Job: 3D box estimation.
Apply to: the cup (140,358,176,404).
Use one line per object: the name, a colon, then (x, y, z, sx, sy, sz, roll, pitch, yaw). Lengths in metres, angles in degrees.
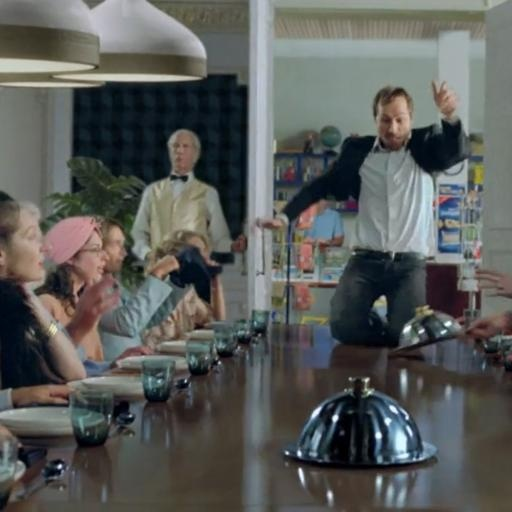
cup: (-0.196, 0.242, 1.492, 0.060, 0.085, 0.067, 1, -9, -4)

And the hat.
hat: (-0.824, -0.065, 3.370, 0.162, 0.054, 0.189, -6, 37, -2)

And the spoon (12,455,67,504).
spoon: (-0.299, 0.310, 1.038, 0.021, 0.034, 0.098, 0, 6, 26)

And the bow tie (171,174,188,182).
bow tie: (-0.479, -0.474, 4.673, 0.118, 0.048, 0.045, -1, 2, -9)

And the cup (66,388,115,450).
cup: (-0.265, 0.257, 1.212, 0.066, 0.095, 0.075, 1, -10, -7)

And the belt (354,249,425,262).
belt: (0.660, -0.004, 3.760, 0.360, 0.064, 0.113, -1, 2, 1)

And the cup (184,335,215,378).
cup: (-0.144, 0.244, 1.836, 0.056, 0.077, 0.059, 0, -1, 0)

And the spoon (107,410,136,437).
spoon: (-0.232, 0.289, 1.308, 0.027, 0.032, 0.012, 17, -17, 21)

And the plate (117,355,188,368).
plate: (-0.243, 0.251, 1.799, 0.088, 0.017, 0.101, 1, -1, 1)

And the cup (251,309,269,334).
cup: (0.012, 0.226, 2.651, 0.060, 0.085, 0.066, 0, -6, 0)

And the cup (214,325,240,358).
cup: (-0.083, 0.245, 2.136, 0.062, 0.083, 0.064, -1, 2, 0)

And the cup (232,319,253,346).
cup: (-0.046, 0.240, 2.390, 0.050, 0.068, 0.058, 0, -6, -7)
